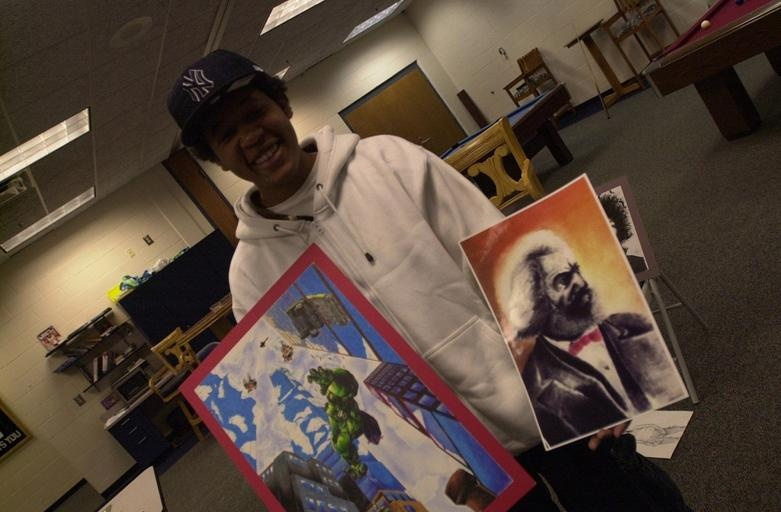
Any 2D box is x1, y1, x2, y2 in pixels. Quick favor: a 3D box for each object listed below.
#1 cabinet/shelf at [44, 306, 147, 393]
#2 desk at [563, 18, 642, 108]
[{"bbox_3d":[-4.340,1.414,7.611,0.877,0.826,0.266,-37,-7,-15],"label":"cabinet/shelf"},{"bbox_3d":[3.601,-3.300,8.841,1.086,1.258,1.050,-35,10,-11],"label":"desk"}]
